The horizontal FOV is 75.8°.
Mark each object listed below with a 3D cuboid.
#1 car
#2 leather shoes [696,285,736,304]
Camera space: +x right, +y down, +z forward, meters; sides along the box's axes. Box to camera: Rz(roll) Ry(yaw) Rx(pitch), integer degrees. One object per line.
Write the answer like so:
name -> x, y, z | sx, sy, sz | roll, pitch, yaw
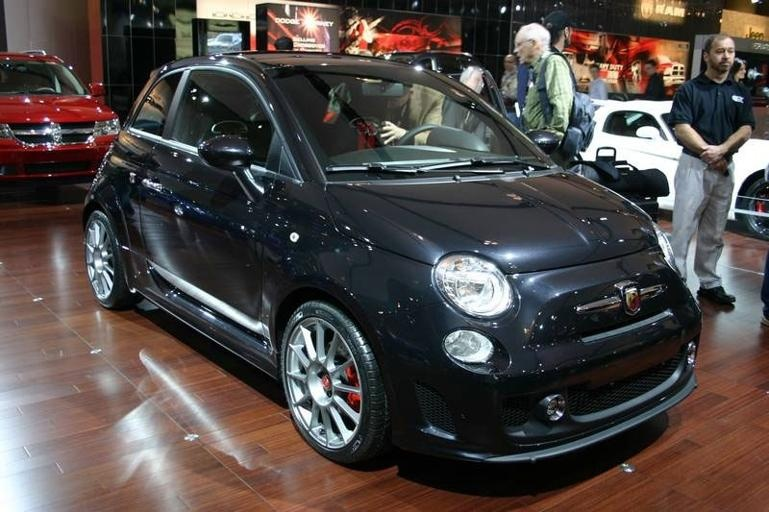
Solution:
car -> -0.359, -0.284, 3.129 | 2.051, 1.460, 3.599 | -9, 16, -39
leather shoes -> 3.009, 0.345, 4.545 | 0.134, 0.125, 0.334 | -12, 16, -38
